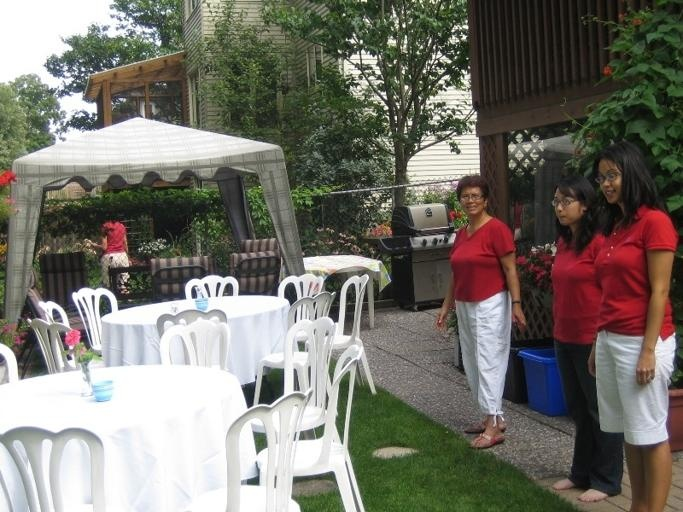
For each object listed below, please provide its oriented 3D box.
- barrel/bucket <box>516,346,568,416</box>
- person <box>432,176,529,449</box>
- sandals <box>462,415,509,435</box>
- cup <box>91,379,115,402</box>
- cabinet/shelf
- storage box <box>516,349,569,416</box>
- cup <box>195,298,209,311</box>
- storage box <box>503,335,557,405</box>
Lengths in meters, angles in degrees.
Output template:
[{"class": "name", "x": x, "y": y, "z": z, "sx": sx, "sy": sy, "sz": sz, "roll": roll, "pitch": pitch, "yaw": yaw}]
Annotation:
[{"class": "barrel/bucket", "x": 1.805, "y": 1.090, "z": 6.576, "sx": 0.460, "sy": 0.672, "sz": 0.626, "roll": -10, "pitch": -2, "yaw": 1}, {"class": "person", "x": 1.197, "y": 0.429, "z": 6.064, "sx": 0.515, "sy": 2.200, "sz": 0.624, "roll": -5, "pitch": 8, "yaw": -15}, {"class": "sandals", "x": 1.226, "y": 1.457, "z": 6.197, "sx": 0.412, "sy": 0.209, "sz": 0.166, "roll": 0, "pitch": 4, "yaw": 6}, {"class": "cup", "x": -1.488, "y": 0.840, "z": 4.493, "sx": 0.117, "sy": 0.106, "sz": 0.120, "roll": -3, "pitch": 1, "yaw": 0}, {"class": "cabinet/shelf", "x": 1.268, "y": 0.376, "z": 11.808, "sx": 0.561, "sy": 1.203, "sz": 0.827, "roll": -2, "pitch": -5, "yaw": 23}, {"class": "storage box", "x": 1.782, "y": 1.099, "z": 6.583, "sx": 0.462, "sy": 0.677, "sz": 0.635, "roll": -12, "pitch": -4, "yaw": 17}, {"class": "cup", "x": -1.350, "y": 0.455, "z": 6.964, "sx": 0.148, "sy": 0.136, "sz": 0.153, "roll": -1, "pitch": 2, "yaw": 0}, {"class": "storage box", "x": 1.720, "y": 1.092, "z": 6.813, "sx": 0.524, "sy": 0.453, "sz": 0.485, "roll": 0, "pitch": 2, "yaw": -2}]
